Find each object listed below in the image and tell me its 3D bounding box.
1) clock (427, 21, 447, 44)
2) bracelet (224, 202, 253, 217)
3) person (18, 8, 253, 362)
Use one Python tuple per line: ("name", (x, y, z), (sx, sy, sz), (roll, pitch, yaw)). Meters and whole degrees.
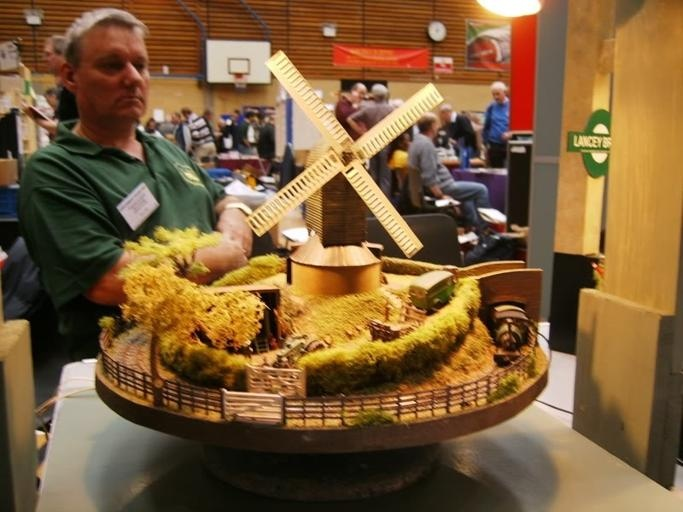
("clock", (2.885, -6.743, 16.052), (0.648, 0.623, 0.153), (-7, 15, -21))
("bracelet", (-0.587, -0.282, 3.041), (0.125, 0.040, 0.136), (22, 17, -19))
("person", (-1.127, -0.392, 2.733), (0.690, 1.674, 0.928), (4, 15, 22))
